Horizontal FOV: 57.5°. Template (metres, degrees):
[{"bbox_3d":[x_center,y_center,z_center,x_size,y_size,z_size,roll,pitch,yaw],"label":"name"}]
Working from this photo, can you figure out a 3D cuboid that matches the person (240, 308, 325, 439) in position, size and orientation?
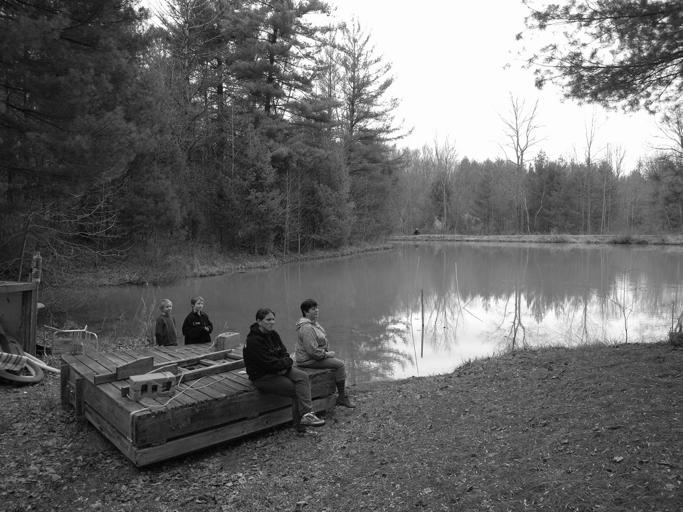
[{"bbox_3d":[-0.976,1.811,9.912,1.111,1.951,0.537,-3,8,-6],"label":"person"}]

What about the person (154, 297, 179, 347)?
[{"bbox_3d":[-3.509,1.335,12.478,0.385,0.904,0.677,-5,9,-19],"label":"person"}]

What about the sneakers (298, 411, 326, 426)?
[{"bbox_3d":[-0.483,2.602,10.040,0.409,0.226,0.197,2,-2,-4],"label":"sneakers"}]

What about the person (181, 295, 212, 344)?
[{"bbox_3d":[-2.927,1.324,12.698,0.548,1.028,1.200,-4,9,-14],"label":"person"}]

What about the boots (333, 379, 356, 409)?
[{"bbox_3d":[0.068,2.395,10.802,0.465,0.572,0.239,5,3,4],"label":"boots"}]

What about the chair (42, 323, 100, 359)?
[{"bbox_3d":[-6.004,1.903,13.738,0.943,0.526,1.713,3,-1,-40],"label":"chair"}]
